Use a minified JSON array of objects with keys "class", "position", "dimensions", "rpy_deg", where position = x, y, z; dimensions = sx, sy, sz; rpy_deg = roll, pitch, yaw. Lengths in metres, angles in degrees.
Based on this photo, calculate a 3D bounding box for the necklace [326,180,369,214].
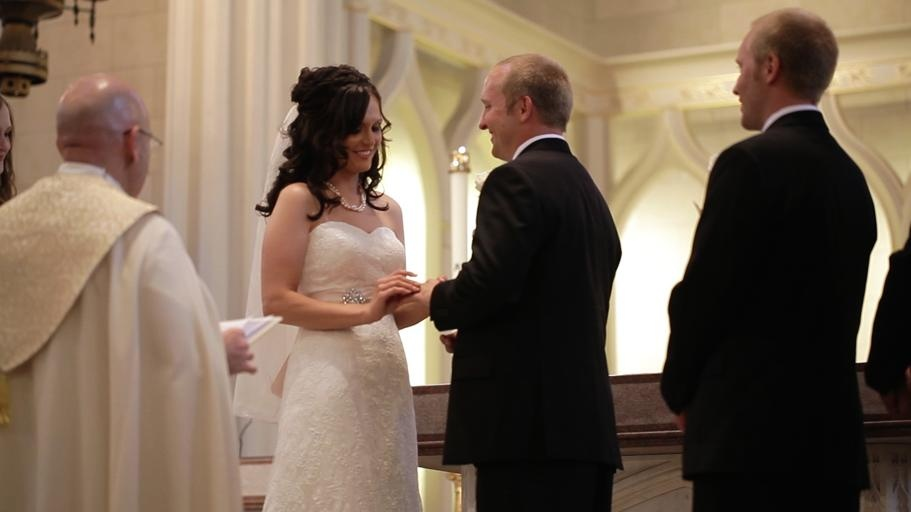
[{"class":"necklace","position":[-0.518,-0.266,5.451],"dimensions":[0.038,0.162,0.133],"rpy_deg":[-45,-16,27]}]
